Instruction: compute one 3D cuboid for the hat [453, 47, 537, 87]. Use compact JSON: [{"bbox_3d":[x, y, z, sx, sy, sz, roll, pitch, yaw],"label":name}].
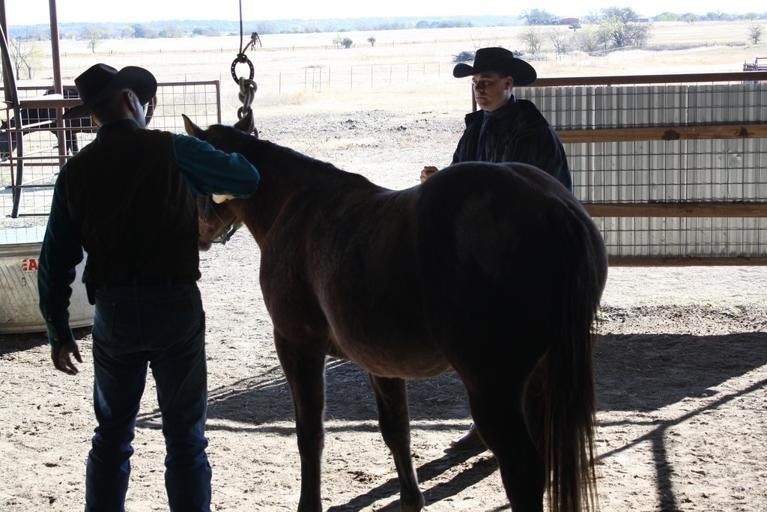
[{"bbox_3d":[1.096,-1.716,9.894,0.500,0.175,0.465,6,-4,-12],"label":"hat"}]
